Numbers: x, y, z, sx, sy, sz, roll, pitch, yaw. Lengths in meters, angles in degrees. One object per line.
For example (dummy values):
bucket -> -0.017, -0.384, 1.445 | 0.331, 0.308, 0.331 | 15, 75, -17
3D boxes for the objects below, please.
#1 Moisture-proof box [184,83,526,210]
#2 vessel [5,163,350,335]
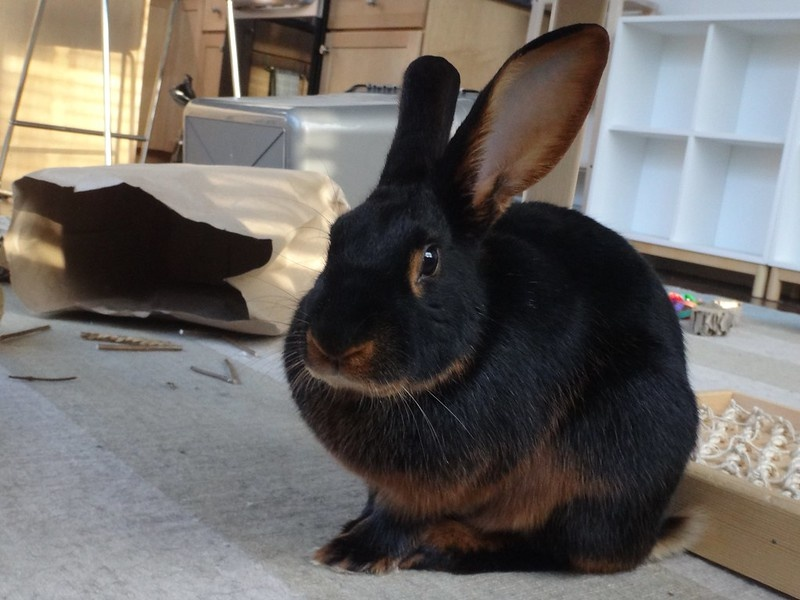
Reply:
Moisture-proof box -> -0.308, -0.484, 2.571 | 0.876, 0.606, 0.856 | 3, 9, -10
vessel -> -0.596, -0.162, 1.760 | 0.758, 0.270, 0.588 | 8, 9, 15
